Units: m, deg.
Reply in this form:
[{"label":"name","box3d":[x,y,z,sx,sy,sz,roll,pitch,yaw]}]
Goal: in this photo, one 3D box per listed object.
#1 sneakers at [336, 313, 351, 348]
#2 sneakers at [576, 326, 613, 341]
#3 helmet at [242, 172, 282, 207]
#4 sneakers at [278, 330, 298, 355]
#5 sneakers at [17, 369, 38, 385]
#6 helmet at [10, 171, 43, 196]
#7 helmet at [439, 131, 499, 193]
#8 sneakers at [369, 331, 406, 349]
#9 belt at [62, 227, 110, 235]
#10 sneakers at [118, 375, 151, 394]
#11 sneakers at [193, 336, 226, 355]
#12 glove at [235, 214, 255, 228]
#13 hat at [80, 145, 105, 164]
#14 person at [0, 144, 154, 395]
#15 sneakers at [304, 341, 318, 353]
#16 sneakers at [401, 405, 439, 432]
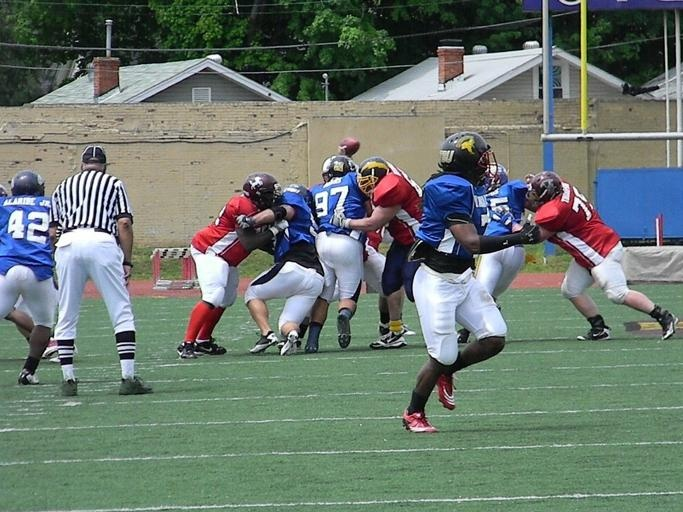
[{"label":"sneakers","box3d":[0.029,0.894,15.463,0.173,0.403,0.203,-6,-9,10]},{"label":"sneakers","box3d":[3.090,0.969,15.976,0.519,0.174,0.152,0,-4,6]},{"label":"helmet","box3d":[-0.905,-0.798,15.373,0.494,0.364,0.373,-7,16,-14]},{"label":"sneakers","box3d":[-0.640,1.033,15.254,0.159,0.364,0.164,21,34,-17]},{"label":"sneakers","box3d":[-3.413,1.326,14.055,0.124,0.107,0.260,4,-1,28]},{"label":"helmet","box3d":[-3.581,-0.832,14.680,0.313,0.245,0.327,0,20,0]},{"label":"helmet","box3d":[1.176,-0.941,12.285,0.640,0.451,0.482,-1,11,-24]},{"label":"sneakers","box3d":[0.571,1.045,15.750,0.552,0.209,0.162,1,-3,1]},{"label":"belt","box3d":[-2.615,-0.257,13.192,0.512,0.068,0.134,-1,3,-8]},{"label":"sneakers","box3d":[-2.154,1.352,13.466,0.153,0.134,0.379,3,4,40]},{"label":"sneakers","box3d":[-1.607,1.114,15.563,0.462,0.170,0.137,0,11,-19]},{"label":"glove","box3d":[-1.135,-0.400,15.004,0.130,0.071,0.180,37,32,17]},{"label":"hat","box3d":[-2.627,-1.050,13.637,0.306,0.117,0.369,2,32,-8]},{"label":"person","box3d":[-2.536,0.170,13.335,0.905,2.559,0.508,-1,3,-8]},{"label":"sneakers","box3d":[-0.375,1.091,15.477,0.141,0.089,0.170,8,33,2]},{"label":"sneakers","box3d":[0.702,1.542,12.112,0.326,0.139,0.174,6,5,29]}]
